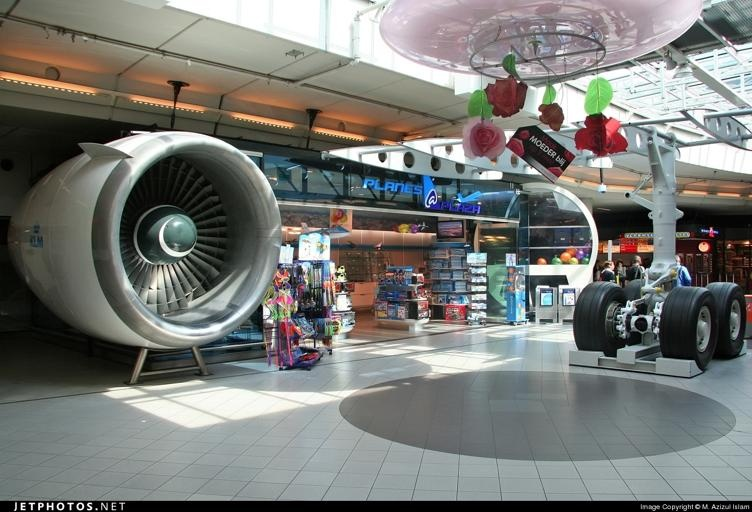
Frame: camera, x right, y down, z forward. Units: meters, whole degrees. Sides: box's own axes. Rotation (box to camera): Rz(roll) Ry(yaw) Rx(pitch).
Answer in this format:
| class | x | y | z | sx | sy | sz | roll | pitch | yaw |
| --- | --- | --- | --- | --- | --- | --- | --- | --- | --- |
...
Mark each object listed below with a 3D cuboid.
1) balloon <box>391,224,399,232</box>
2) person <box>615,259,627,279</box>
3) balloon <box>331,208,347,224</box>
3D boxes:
| class | x | y | z | sx | sy | sz | roll | pitch | yaw |
| --- | --- | --- | --- | --- | --- | --- | --- | --- | --- |
| balloon | 0.557 | -0.834 | 14.400 | 0.226 | 0.136 | 0.218 | 1 | -9 | -8 |
| person | 7.101 | 0.436 | 13.765 | 0.251 | 0.573 | 1.202 | 0 | 0 | 26 |
| balloon | -0.782 | -0.856 | 10.367 | 0.480 | 0.308 | 0.175 | 0 | 1 | -42 |
